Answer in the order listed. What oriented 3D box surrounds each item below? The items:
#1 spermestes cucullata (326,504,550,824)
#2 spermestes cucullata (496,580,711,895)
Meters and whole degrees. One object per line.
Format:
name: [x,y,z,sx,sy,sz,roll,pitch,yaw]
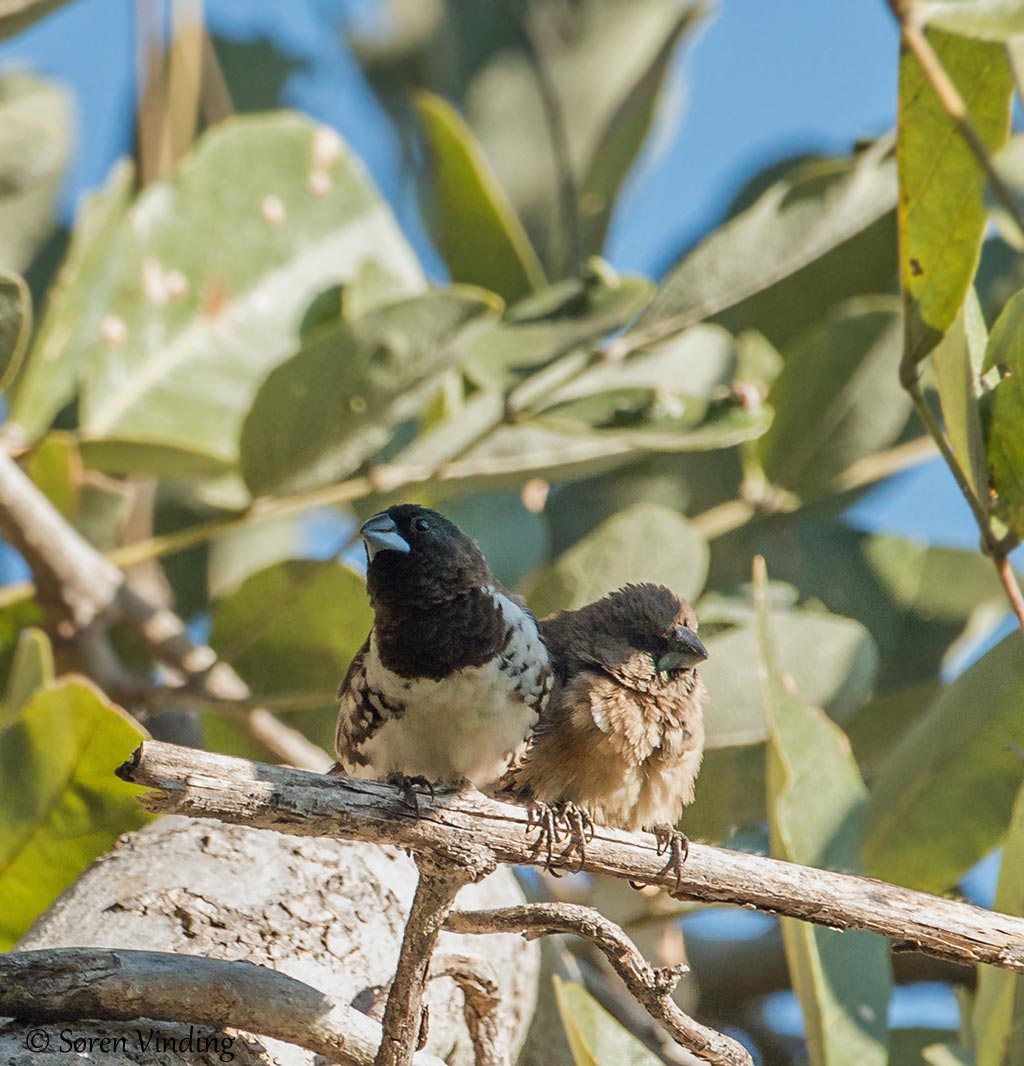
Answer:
spermestes cucullata: [-0.149,0.232,4.017,0.322,0.581,0.277,1,36,1]
spermestes cucullata: [0.185,0.414,4.219,0.369,0.601,0.548,16,68,-22]
